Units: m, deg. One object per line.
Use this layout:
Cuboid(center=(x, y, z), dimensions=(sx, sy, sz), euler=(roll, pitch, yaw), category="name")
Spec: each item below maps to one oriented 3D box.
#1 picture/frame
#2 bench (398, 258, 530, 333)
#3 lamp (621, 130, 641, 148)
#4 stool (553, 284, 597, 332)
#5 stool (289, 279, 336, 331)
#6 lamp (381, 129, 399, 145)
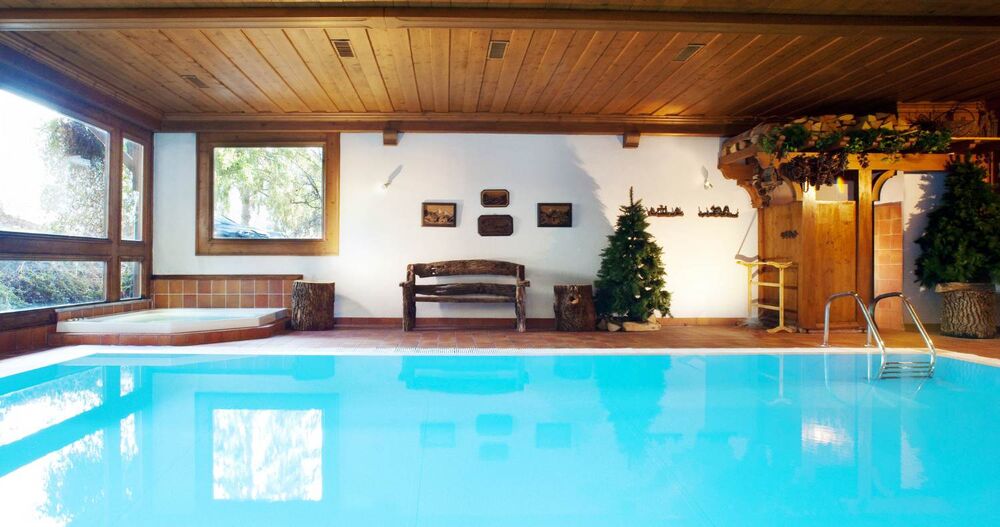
Cuboid(center=(-0.063, -1.100, 13.021), dimensions=(3.229, 1.009, 0.077), euler=(0, 1, -3), category="picture/frame")
Cuboid(center=(-0.767, 0.643, 12.649), dimensions=(2.563, 1.451, 1.016), euler=(0, 1, -8), category="bench")
Cuboid(center=(2.862, -2.697, 13.060), dimensions=(0.403, 0.372, 0.231), euler=(0, 1, 8), category="lamp")
Cuboid(center=(1.584, 0.908, 12.396), dimensions=(0.871, 0.910, 0.280), euler=(0, 1, 4), category="stool")
Cuboid(center=(-3.824, 0.894, 12.274), dimensions=(1.104, 0.967, 1.004), euler=(1, -3, -4), category="stool")
Cuboid(center=(-2.330, -2.703, 12.903), dimensions=(0.317, 0.315, 0.526), euler=(-1, 3, 3), category="lamp")
